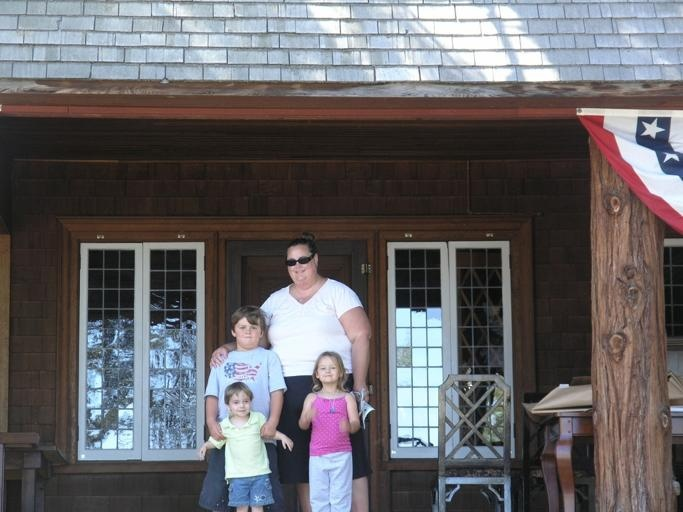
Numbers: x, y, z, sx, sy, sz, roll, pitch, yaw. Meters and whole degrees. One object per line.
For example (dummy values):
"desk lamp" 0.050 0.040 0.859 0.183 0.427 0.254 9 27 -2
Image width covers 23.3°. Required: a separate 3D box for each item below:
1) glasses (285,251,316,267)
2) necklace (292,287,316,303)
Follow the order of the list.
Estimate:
"glasses" -0.311 0.035 12.132 0.214 0.095 0.105 -4 -10 6
"necklace" -0.296 0.289 12.193 0.113 0.056 0.140 12 -5 31
